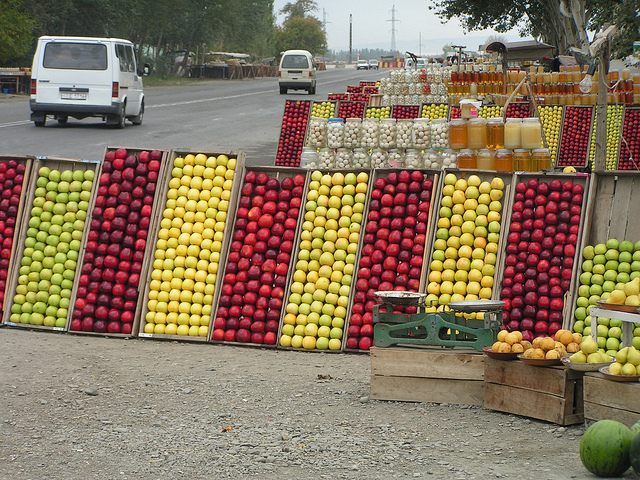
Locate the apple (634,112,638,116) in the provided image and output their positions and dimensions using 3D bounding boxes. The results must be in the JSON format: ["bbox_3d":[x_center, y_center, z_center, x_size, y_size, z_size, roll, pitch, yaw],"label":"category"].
[{"bbox_3d":[9.364,-3.652,18.136,0.086,0.080,0.087,7,12,37],"label":"apple"}]

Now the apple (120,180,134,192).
[{"bbox_3d":[-2.689,-0.726,8.525,0.174,0.162,0.072,-1,6,-18],"label":"apple"}]

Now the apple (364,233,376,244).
[{"bbox_3d":[0.654,0.001,7.997,0.132,0.123,0.119,-7,-21,19],"label":"apple"}]

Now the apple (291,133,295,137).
[{"bbox_3d":[-0.751,-2.873,17.065,0.078,0.090,0.079,26,35,25],"label":"apple"}]

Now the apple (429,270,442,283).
[{"bbox_3d":[1.451,0.474,7.751,0.145,0.135,0.131,-11,1,-3],"label":"apple"}]

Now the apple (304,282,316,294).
[{"bbox_3d":[-0.129,0.645,8.087,0.136,0.133,0.074,-24,-16,9],"label":"apple"}]

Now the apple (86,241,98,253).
[{"bbox_3d":[-3.140,0.118,8.451,0.150,0.133,0.146,0,4,2],"label":"apple"}]

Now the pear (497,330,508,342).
[{"bbox_3d":[1.786,0.928,5.994,0.087,0.101,0.088,21,35,31],"label":"pear"}]

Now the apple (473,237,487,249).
[{"bbox_3d":[2.004,0.047,7.702,0.136,0.131,0.137,22,-10,-11],"label":"apple"}]

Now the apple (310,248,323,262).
[{"bbox_3d":[-0.037,0.214,8.158,0.141,0.090,0.163,-18,0,-29],"label":"apple"}]

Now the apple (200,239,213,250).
[{"bbox_3d":[-1.545,0.075,8.357,0.137,0.073,0.109,-11,-15,-22],"label":"apple"}]

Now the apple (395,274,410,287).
[{"bbox_3d":[1.041,0.525,7.802,0.146,0.131,0.141,-4,44,16],"label":"apple"}]

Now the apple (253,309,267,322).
[{"bbox_3d":[-0.790,1.011,8.130,0.161,0.148,0.157,-1,8,1],"label":"apple"}]

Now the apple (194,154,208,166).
[{"bbox_3d":[-1.661,-1.090,8.543,0.166,0.148,0.161,7,17,13],"label":"apple"}]

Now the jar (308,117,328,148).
[{"bbox_3d":[-0.046,-2.351,13.705,0.379,0.662,0.507,1,6,-4],"label":"jar"}]

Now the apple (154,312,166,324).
[{"bbox_3d":[-2.153,1.057,8.255,0.140,0.156,0.141,3,24,30],"label":"apple"}]

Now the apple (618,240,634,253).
[{"bbox_3d":[3.512,0.094,7.009,0.127,0.123,0.117,16,-13,21],"label":"apple"}]

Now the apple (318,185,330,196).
[{"bbox_3d":[0.060,-0.639,8.353,0.135,0.131,0.151,7,-9,0],"label":"apple"}]

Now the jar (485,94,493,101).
[{"bbox_3d":[5.606,-4.625,20.342,0.210,0.190,0.203,-1,6,0],"label":"jar"}]

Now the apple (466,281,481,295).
[{"bbox_3d":[1.887,0.605,7.519,0.159,0.146,0.155,7,-6,-38],"label":"apple"}]

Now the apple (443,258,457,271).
[{"bbox_3d":[1.629,0.320,7.650,0.139,0.129,0.135,0,-10,10],"label":"apple"}]

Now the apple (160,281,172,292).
[{"bbox_3d":[-2.092,0.646,8.326,0.159,0.142,0.068,0,6,-12],"label":"apple"}]

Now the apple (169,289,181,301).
[{"bbox_3d":[-1.963,0.754,8.369,0.145,0.163,0.142,22,10,-19],"label":"apple"}]

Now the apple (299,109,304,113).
[{"bbox_3d":[-0.508,-3.538,17.190,0.085,0.082,0.100,21,37,0],"label":"apple"}]

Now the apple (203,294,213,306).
[{"bbox_3d":[-1.494,0.803,8.295,0.126,0.140,0.123,-20,52,-19],"label":"apple"}]

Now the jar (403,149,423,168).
[{"bbox_3d":[1.532,-1.285,10.225,0.385,0.368,0.394,1,-2,0],"label":"jar"}]

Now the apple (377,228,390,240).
[{"bbox_3d":[0.826,-0.062,7.968,0.146,0.143,0.056,1,5,5],"label":"apple"}]

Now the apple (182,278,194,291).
[{"bbox_3d":[-1.768,0.602,8.354,0.138,0.159,0.148,9,26,25],"label":"apple"}]

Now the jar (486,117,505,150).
[{"bbox_3d":[2.566,-1.518,8.939,0.268,0.463,0.289,1,5,0],"label":"jar"}]

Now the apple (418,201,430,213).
[{"bbox_3d":[1.358,-0.401,7.977,0.133,0.122,0.120,4,-9,-19],"label":"apple"}]

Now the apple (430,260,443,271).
[{"bbox_3d":[1.477,0.334,7.709,0.130,0.144,0.126,-2,-10,-4],"label":"apple"}]

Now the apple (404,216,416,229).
[{"bbox_3d":[1.173,-0.209,7.946,0.145,0.126,0.132,-2,0,-3],"label":"apple"}]

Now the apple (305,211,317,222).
[{"bbox_3d":[-0.124,-0.301,8.355,0.128,0.147,0.128,4,24,14],"label":"apple"}]

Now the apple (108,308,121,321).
[{"bbox_3d":[-2.784,1.024,8.319,0.146,0.140,0.153,8,-2,-41],"label":"apple"}]

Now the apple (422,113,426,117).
[{"bbox_3d":[3.285,-3.861,19.332,0.116,0.055,0.118,13,29,36],"label":"apple"}]

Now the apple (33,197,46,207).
[{"bbox_3d":[-3.985,-0.513,8.723,0.138,0.131,0.131,9,-1,0],"label":"apple"}]

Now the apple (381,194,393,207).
[{"bbox_3d":[0.890,-0.492,8.038,0.145,0.168,0.145,0,8,25],"label":"apple"}]

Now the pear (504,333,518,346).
[{"bbox_3d":[1.836,0.952,5.871,0.102,0.114,0.098,-6,-6,19],"label":"pear"}]

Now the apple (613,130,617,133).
[{"bbox_3d":[9.092,-3.268,18.832,0.112,0.081,0.072,1,6,1],"label":"apple"}]

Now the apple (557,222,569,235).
[{"bbox_3d":[2.964,-0.117,7.457,0.133,0.119,0.126,-13,-6,10],"label":"apple"}]

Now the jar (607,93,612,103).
[{"bbox_3d":[9.862,-4.733,20.790,0.129,0.300,0.303,4,6,26],"label":"jar"}]

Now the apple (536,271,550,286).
[{"bbox_3d":[2.698,0.479,7.392,0.137,0.152,0.138,0,6,-6],"label":"apple"}]

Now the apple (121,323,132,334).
[{"bbox_3d":[-2.609,1.210,8.338,0.134,0.129,0.119,-4,-28,9],"label":"apple"}]

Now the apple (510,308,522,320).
[{"bbox_3d":[2.380,0.899,7.439,0.128,0.148,0.126,-11,4,-41],"label":"apple"}]

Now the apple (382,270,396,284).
[{"bbox_3d":[0.880,0.482,7.841,0.150,0.142,0.138,-1,-8,11],"label":"apple"}]

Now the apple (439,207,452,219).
[{"bbox_3d":[1.617,-0.327,7.865,0.132,0.144,0.129,-2,-2,22],"label":"apple"}]

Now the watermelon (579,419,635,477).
[{"bbox_3d":[2.134,1.542,4.532,0.380,0.373,0.196,0,6,-12],"label":"watermelon"}]

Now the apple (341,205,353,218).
[{"bbox_3d":[0.365,-0.364,8.219,0.152,0.164,0.063,1,5,3],"label":"apple"}]

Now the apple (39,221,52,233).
[{"bbox_3d":[-3.889,-0.170,8.673,0.149,0.144,0.173,5,-19,-25],"label":"apple"}]

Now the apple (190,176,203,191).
[{"bbox_3d":[-1.713,-0.759,8.468,0.149,0.180,0.102,0,4,-4],"label":"apple"}]

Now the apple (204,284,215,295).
[{"bbox_3d":[-1.480,0.684,8.339,0.138,0.124,0.135,-2,-27,9],"label":"apple"}]

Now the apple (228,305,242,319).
[{"bbox_3d":[-1.117,0.962,8.201,0.176,0.161,0.159,9,-1,-4],"label":"apple"}]

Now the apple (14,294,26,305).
[{"bbox_3d":[-4.201,0.851,8.587,0.134,0.119,0.121,5,-26,-35],"label":"apple"}]

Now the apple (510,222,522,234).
[{"bbox_3d":[2.431,-0.131,7.578,0.124,0.118,0.116,-13,-44,33],"label":"apple"}]

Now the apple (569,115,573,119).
[{"bbox_3d":[7.833,-3.763,19.064,0.113,0.061,0.114,2,12,34],"label":"apple"}]

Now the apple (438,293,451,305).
[{"bbox_3d":[1.543,0.728,7.557,0.114,0.134,0.113,32,-1,-8],"label":"apple"}]

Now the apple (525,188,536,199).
[{"bbox_3d":[2.627,-0.555,7.683,0.113,0.126,0.111,-15,27,-8],"label":"apple"}]

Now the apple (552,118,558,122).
[{"bbox_3d":[7.408,-3.689,19.245,0.134,0.119,0.042,2,5,13],"label":"apple"}]

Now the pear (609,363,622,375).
[{"bbox_3d":[2.455,1.071,5.115,0.084,0.093,0.079,18,-5,-2],"label":"pear"}]

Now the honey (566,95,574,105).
[{"bbox_3d":[8.514,-4.668,20.828,0.301,0.323,0.294,1,2,-3],"label":"honey"}]
